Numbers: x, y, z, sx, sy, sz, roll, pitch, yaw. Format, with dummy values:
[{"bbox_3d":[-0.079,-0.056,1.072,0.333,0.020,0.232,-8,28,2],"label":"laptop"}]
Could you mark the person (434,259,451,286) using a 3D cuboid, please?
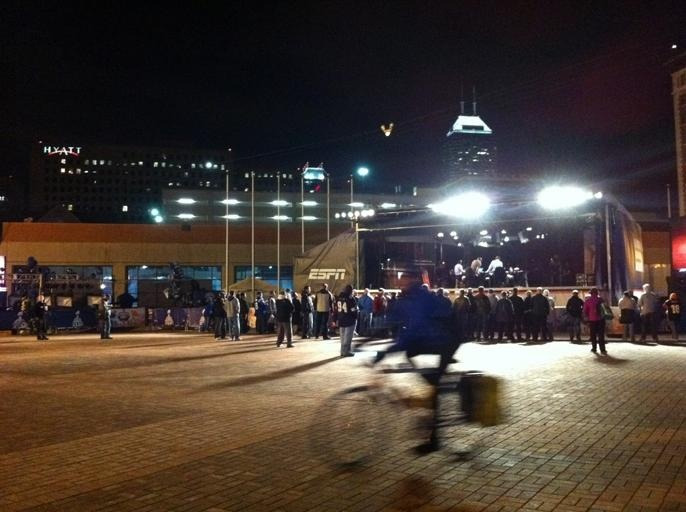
[{"bbox_3d":[5.566,1.100,31.802,0.971,1.898,1.028,-4,-8,32],"label":"person"}]
